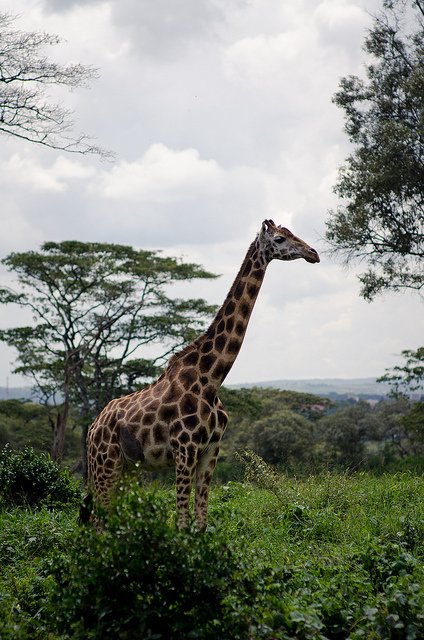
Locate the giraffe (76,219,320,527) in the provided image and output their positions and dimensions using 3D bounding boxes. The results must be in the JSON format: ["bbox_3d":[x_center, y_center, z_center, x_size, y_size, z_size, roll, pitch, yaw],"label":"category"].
[{"bbox_3d":[-0.276,0.507,8.364,2.233,2.904,0.945,-4,0,-7],"label":"giraffe"}]
